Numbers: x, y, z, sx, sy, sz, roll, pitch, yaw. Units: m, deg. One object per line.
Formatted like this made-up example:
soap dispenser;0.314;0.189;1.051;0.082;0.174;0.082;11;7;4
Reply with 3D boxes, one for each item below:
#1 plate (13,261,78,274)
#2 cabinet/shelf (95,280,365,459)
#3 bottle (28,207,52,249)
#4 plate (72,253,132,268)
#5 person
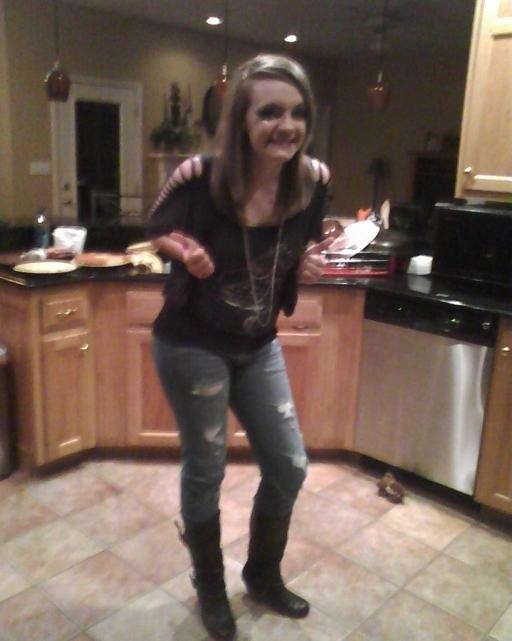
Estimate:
plate;-0.732;-0.184;2.013;0.161;0.032;0.190;10;17;33
cabinet/shelf;-0.084;0.250;2.280;1.172;0.733;0.609;0;8;-4
bottle;-0.865;-0.365;2.298;0.074;0.147;0.147;-5;15;-19
plate;-0.570;-0.221;2.127;0.203;0.044;0.147;-4;15;-18
person;-0.028;0.143;1.137;0.341;1.206;0.205;0;15;-4
